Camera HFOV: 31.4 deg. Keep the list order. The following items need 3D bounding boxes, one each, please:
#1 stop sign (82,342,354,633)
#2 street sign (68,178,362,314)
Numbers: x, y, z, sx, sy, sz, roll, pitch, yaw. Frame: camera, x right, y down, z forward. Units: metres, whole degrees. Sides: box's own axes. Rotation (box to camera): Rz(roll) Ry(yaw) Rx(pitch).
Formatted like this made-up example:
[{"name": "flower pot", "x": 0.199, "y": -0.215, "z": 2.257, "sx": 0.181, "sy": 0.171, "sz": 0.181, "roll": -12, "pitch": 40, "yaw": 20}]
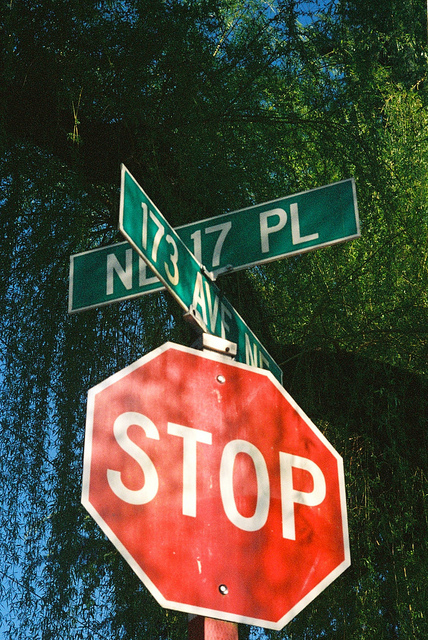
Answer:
[{"name": "stop sign", "x": 0.012, "y": 0.200, "z": 0.971, "sx": 0.346, "sy": 0.255, "sz": 0.326, "roll": 9, "pitch": 78, "yaw": 6}, {"name": "street sign", "x": 0.029, "y": -0.155, "z": 1.740, "sx": 0.461, "sy": 0.008, "sz": 0.183, "roll": -14, "pitch": 52, "yaw": 1}]
